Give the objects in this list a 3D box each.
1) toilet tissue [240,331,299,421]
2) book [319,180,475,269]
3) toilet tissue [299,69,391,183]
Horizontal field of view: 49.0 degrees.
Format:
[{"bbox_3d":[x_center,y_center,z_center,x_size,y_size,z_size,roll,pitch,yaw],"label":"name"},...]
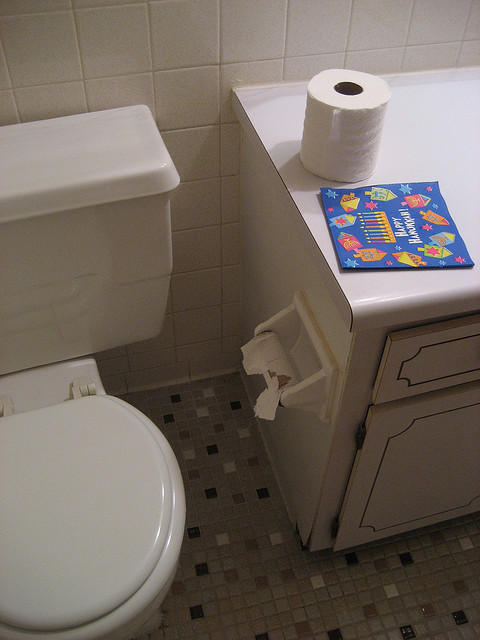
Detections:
[{"bbox_3d":[0.053,0.099,0.825,0.025,0.073,0.115,10,28,25],"label":"toilet tissue"},{"bbox_3d":[0.192,-0.124,0.660,0.160,0.016,0.182,-1,48,-1],"label":"book"},{"bbox_3d":[0.139,-0.268,0.717,0.097,0.114,0.102,25,60,16],"label":"toilet tissue"}]
